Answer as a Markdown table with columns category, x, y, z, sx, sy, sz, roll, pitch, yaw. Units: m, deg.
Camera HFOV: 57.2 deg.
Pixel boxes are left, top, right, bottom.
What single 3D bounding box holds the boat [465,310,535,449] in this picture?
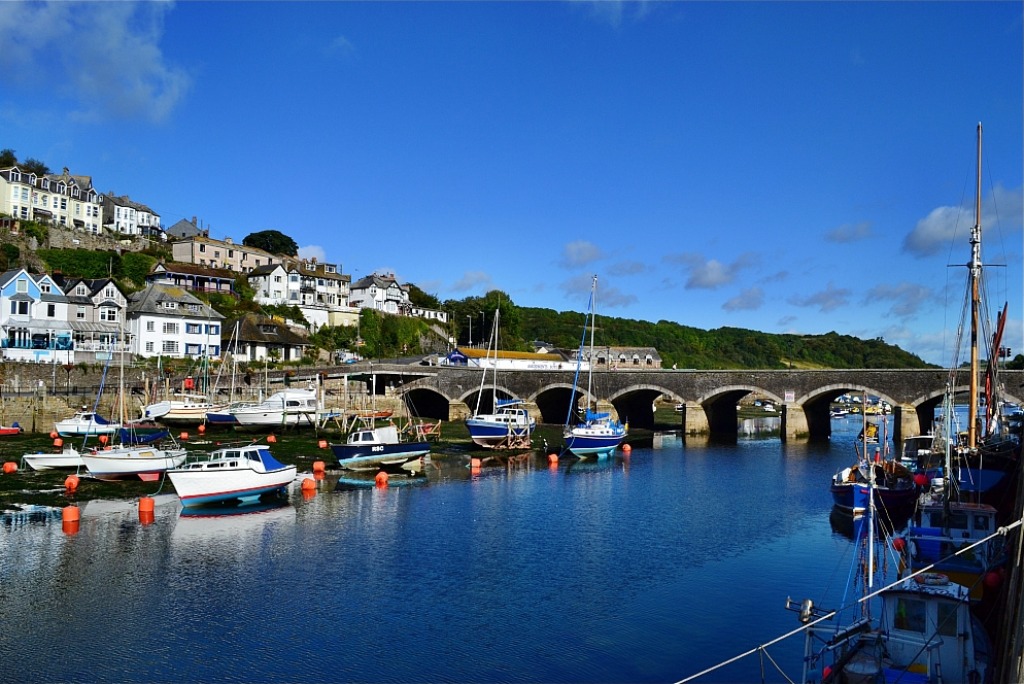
| category | x | y | z | sx | sy | sz | roll | pitch | yaw |
| --- | --- | --- | --- | --- | --- | --- | --- | --- | --- |
| boat | -1.115 | 3.326 | 79.595 | 3.692 | 11.381 | 9.072 | -4 | -5 | 34 |

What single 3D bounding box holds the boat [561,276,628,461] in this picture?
| category | x | y | z | sx | sy | sz | roll | pitch | yaw |
| --- | --- | --- | --- | --- | --- | --- | --- | --- | --- |
| boat | 7.052 | 2.072 | 79.699 | 3.714 | 14.645 | 11.051 | 0 | -4 | 26 |
